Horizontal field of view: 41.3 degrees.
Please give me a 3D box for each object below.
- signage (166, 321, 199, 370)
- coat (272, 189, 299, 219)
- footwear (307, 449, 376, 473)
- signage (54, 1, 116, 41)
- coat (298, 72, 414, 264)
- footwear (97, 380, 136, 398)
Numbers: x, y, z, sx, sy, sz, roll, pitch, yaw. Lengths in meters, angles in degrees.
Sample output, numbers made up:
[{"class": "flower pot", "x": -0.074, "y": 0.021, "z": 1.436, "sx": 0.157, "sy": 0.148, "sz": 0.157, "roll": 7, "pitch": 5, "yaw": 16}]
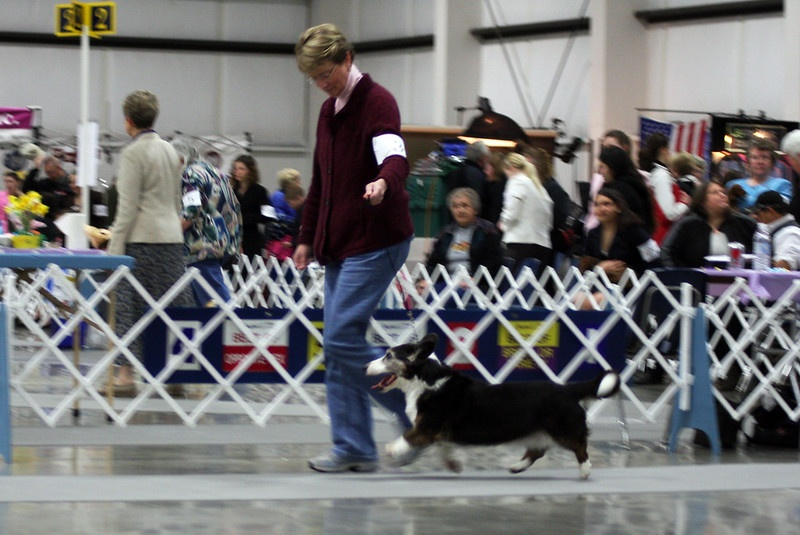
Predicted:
[{"class": "signage", "x": -1.548, "y": 0.563, "z": 7.600, "sx": 0.247, "sy": 0.366, "sz": 0.075, "roll": 0, "pitch": 6, "yaw": -10}, {"class": "coat", "x": -1.345, "y": -0.693, "z": 11.830, "sx": 0.241, "sy": 0.322, "sz": 0.121, "roll": -16, "pitch": -11, "yaw": -45}, {"class": "footwear", "x": -0.372, "y": 1.265, "z": 6.877, "sx": 0.460, "sy": 0.214, "sz": 0.156, "roll": 4, "pitch": -3, "yaw": -11}, {"class": "signage", "x": -2.963, "y": -2.367, "z": 9.964, "sx": 0.501, "sy": 0.343, "sz": 0.585, "roll": -1, "pitch": 7, "yaw": -19}, {"class": "coat", "x": -0.226, "y": -0.604, "z": 6.578, "sx": 0.621, "sy": 1.207, "sz": 0.439, "roll": 1, "pitch": 6, "yaw": 0}, {"class": "footwear", "x": -2.227, "y": 0.970, "z": 8.337, "sx": 0.301, "sy": 0.104, "sz": 0.158, "roll": -2, "pitch": 2, "yaw": -12}]
